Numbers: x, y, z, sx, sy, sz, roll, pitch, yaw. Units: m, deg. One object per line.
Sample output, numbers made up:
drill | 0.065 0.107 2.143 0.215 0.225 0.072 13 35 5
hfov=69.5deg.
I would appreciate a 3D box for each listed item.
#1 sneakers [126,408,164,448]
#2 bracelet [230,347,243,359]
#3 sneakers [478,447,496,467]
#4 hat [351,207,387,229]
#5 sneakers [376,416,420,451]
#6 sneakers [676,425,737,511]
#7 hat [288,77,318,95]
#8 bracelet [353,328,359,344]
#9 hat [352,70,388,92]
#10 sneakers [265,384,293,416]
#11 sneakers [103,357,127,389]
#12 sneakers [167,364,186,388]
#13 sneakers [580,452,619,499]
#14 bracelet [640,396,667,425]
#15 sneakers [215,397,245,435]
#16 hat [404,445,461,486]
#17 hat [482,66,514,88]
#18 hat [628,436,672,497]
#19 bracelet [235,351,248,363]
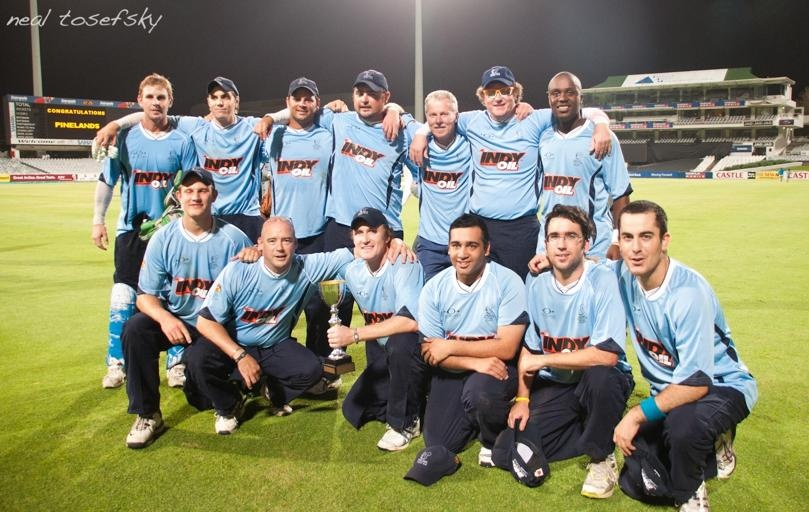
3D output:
sneakers | -2.195 1.448 4.969 0.169 0.230 0.399 2 13 13
bracelet | -1.474 0.855 5.123 0.087 0.027 0.084 -11 27 30
sneakers | 0.662 1.621 4.730 0.124 0.151 0.126 0 12 3
hat | -0.312 -0.349 5.225 0.266 0.167 0.190 4 13 21
sneakers | -0.049 1.538 4.973 0.159 0.175 0.404 -5 -8 33
sneakers | 2.197 1.562 4.271 0.269 0.624 0.206 34 -18 -33
hat | -1.070 -1.790 6.109 0.295 0.174 0.476 -3 13 -11
bracelet | -0.427 0.693 5.142 0.040 0.093 0.057 -3 13 -10
hat | -0.362 -1.881 6.221 0.331 0.221 0.317 -1 12 -1
sneakers | -1.155 1.316 5.368 0.088 0.259 0.183 -15 -2 -8
sneakers | -2.876 1.178 5.784 0.138 0.178 0.391 0 -14 -10
sneakers | -2.332 1.220 5.978 0.167 0.175 0.414 3 -4 -28
sneakers | 1.480 1.692 4.417 0.177 0.200 0.450 -7 -11 25
bracelet | 1.855 1.138 4.334 0.158 0.142 0.196 19 18 21
sneakers | -1.581 1.401 5.233 0.235 0.207 0.426 -2 12 -6
hat | 0.228 1.629 4.554 0.237 0.129 0.366 4 8 35
hat | 0.977 -1.869 6.060 0.343 0.197 0.205 -1 12 0
hat | 1.812 1.619 4.407 0.355 0.415 0.153 2 -8 -30
bracelet | -1.443 0.877 5.133 0.091 0.034 0.091 -42 -12 2
